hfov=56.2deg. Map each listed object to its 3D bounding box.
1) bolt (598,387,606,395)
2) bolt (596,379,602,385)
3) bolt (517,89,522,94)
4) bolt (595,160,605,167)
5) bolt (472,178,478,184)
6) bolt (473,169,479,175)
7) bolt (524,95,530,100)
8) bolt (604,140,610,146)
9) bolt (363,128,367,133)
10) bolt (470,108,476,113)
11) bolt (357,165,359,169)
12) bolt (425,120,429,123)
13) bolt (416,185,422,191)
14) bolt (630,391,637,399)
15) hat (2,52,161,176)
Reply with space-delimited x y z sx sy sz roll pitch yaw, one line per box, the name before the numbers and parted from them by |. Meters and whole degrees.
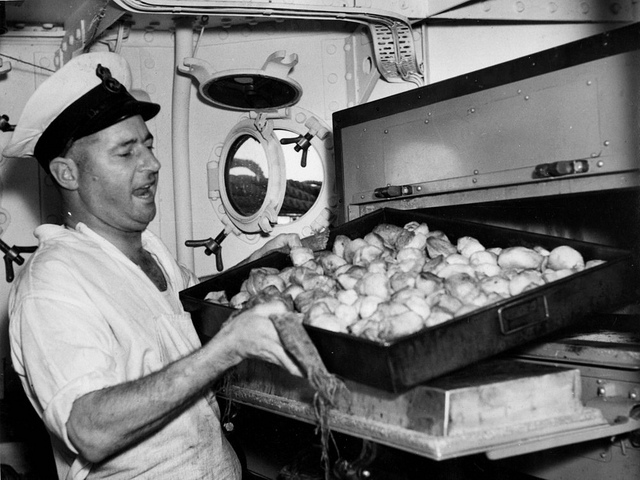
bolt | 0.820 0.442 1.758 0.018 0.021 0.005 4 -9 41
bolt | 0.820 0.419 1.775 0.013 0.014 0.004 -17 -22 37
bolt | 0.695 -0.524 2.110 0.018 0.020 0.004 0 -4 40
bolt | 0.887 -0.246 1.918 0.005 0.022 0.027 -4 5 -34
bolt | 0.583 -0.227 2.277 0.019 0.022 0.005 6 2 43
bolt | 0.584 -0.260 2.269 0.017 0.019 0.004 6 1 37
bolt | 0.713 -0.499 2.088 0.015 0.018 0.004 4 -1 40
bolt | 0.901 -0.309 1.900 0.017 0.020 0.004 1 -4 25
bolt | 0.198 -0.496 2.701 0.023 0.019 0.004 2 5 39
bolt | 0.569 -0.490 2.259 0.004 0.018 0.026 -3 5 -31
bolt | 0.170 -0.338 2.754 0.012 0.014 0.013 -1 6 3
bolt | 0.428 -0.483 2.433 0.012 0.014 0.003 -3 -10 32
bolt | 0.406 -0.217 2.493 0.016 0.019 0.018 -2 6 0
bolt | 0.891 0.445 1.719 0.018 0.020 0.005 1 5 31
hat | -0.787 -0.438 1.973 0.498 0.432 0.348 -3 5 -19
